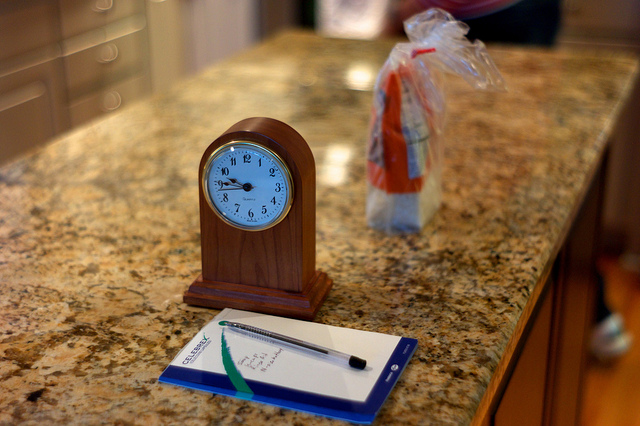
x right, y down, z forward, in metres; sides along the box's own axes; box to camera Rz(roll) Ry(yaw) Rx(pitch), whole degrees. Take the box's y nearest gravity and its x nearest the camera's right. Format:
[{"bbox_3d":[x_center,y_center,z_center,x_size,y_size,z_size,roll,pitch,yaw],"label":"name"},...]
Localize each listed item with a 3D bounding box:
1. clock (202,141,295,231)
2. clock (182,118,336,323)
[{"bbox_3d":[-0.114,-0.051,0.970,0.140,0.150,0.016,-2,15,11],"label":"clock"},{"bbox_3d":[-0.105,0.006,0.997,0.259,0.289,0.181,6,32,10],"label":"clock"}]
